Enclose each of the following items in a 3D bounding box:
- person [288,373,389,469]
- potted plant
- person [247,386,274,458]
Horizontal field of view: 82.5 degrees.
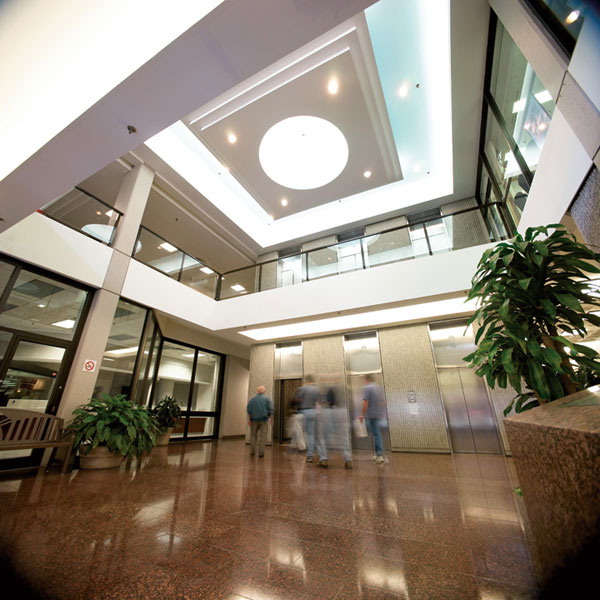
[{"bbox_3d":[0.778,2.312,6.424,1.429,2.187,0.678,-5,-14,17],"label":"person"},{"bbox_3d":[-3.065,2.027,5.503,1.494,1.190,1.473,-13,-29,36],"label":"potted plant"},{"bbox_3d":[-0.843,2.478,7.053,0.484,1.351,1.592,2,-20,-8],"label":"person"}]
